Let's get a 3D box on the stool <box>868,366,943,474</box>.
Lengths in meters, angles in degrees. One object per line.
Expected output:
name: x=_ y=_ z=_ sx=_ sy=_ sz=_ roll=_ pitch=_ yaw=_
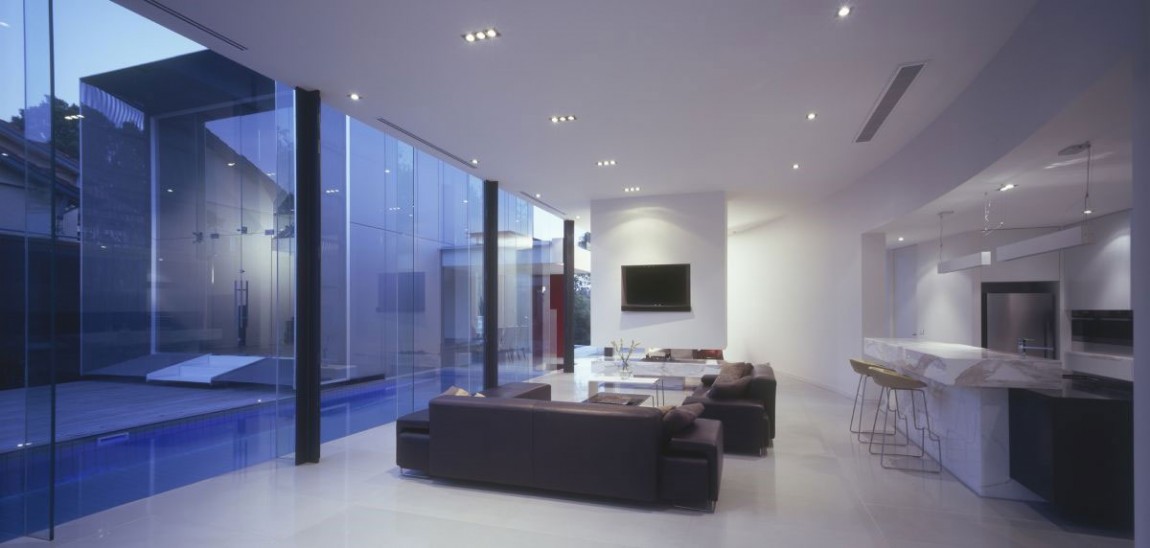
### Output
stool: x=5.709 y=2.520 z=11.117 sx=0.792 sy=1.160 sz=1.922 roll=-2 pitch=-4 yaw=10

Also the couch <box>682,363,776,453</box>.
couch: x=3.029 y=2.433 z=12.539 sx=1.670 sy=1.168 sz=2.941 roll=-1 pitch=1 yaw=19

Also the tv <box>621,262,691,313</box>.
tv: x=1.857 y=0.295 z=14.420 sx=1.380 sy=0.780 sz=0.124 roll=0 pitch=-6 yaw=15
